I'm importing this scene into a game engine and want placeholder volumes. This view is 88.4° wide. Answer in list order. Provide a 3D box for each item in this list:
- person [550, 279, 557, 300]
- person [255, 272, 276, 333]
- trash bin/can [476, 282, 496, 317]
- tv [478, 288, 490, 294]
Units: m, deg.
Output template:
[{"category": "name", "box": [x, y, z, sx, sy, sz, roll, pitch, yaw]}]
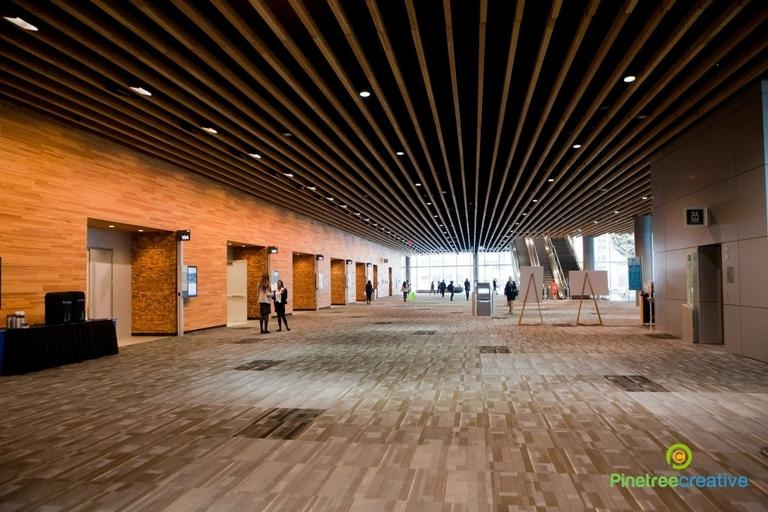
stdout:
[{"category": "person", "box": [12.116, 2.210, 28.239, 0.500, 1.198, 1.035, 0, 1, 23]}, {"category": "person", "box": [-3.752, 1.400, 12.566, 0.427, 1.776, 1.565, -1, 1, -16]}, {"category": "trash bin/can", "box": [4.175, 1.666, 16.436, 0.725, 1.332, 1.032, -1, 1, 13]}, {"category": "tv", "box": [4.096, 1.406, 16.380, 0.430, 0.232, 0.228, -4, -12, 28]}]
